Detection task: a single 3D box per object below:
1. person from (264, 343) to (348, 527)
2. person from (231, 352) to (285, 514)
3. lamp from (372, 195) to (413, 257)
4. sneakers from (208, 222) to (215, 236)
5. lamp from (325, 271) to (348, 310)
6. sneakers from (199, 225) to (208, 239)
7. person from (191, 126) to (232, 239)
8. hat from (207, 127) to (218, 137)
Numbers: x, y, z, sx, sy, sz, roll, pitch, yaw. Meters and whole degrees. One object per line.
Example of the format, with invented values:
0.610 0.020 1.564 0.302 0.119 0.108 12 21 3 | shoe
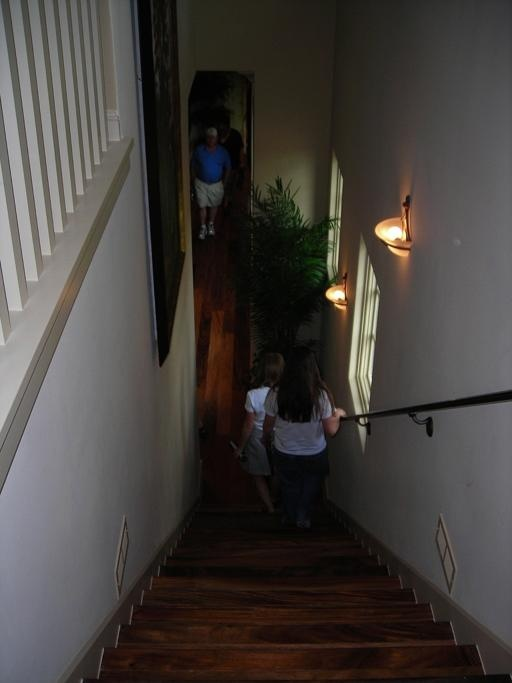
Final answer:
0.327 0.690 3.639 0.423 1.607 0.449 0 32 6 | person
0.007 0.874 4.751 0.405 1.588 0.362 -17 29 -36 | person
0.779 -0.670 2.818 0.183 0.318 0.244 6 16 9 | lamp
-0.792 -2.013 8.870 0.058 0.100 0.267 -1 53 -5 | sneakers
0.846 -0.516 5.170 0.190 0.428 0.294 -5 20 -5 | lamp
-0.941 -1.928 8.787 0.071 0.122 0.305 1 48 1 | sneakers
-0.731 -2.405 7.883 0.570 1.740 1.728 1 17 -7 | person
-0.620 -2.964 7.072 0.136 0.125 0.386 2 20 -7 | hat
